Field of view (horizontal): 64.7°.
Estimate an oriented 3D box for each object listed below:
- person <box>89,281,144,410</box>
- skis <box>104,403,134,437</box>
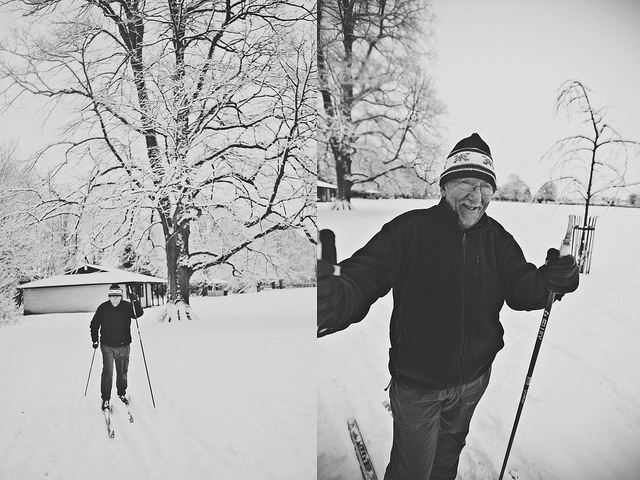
[{"bbox_3d":[-1.506,0.775,3.663,0.306,0.898,0.285,1,12,-22],"label":"person"},{"bbox_3d":[-1.462,1.295,3.605,0.175,0.219,0.058,-2,-6,-27],"label":"skis"}]
